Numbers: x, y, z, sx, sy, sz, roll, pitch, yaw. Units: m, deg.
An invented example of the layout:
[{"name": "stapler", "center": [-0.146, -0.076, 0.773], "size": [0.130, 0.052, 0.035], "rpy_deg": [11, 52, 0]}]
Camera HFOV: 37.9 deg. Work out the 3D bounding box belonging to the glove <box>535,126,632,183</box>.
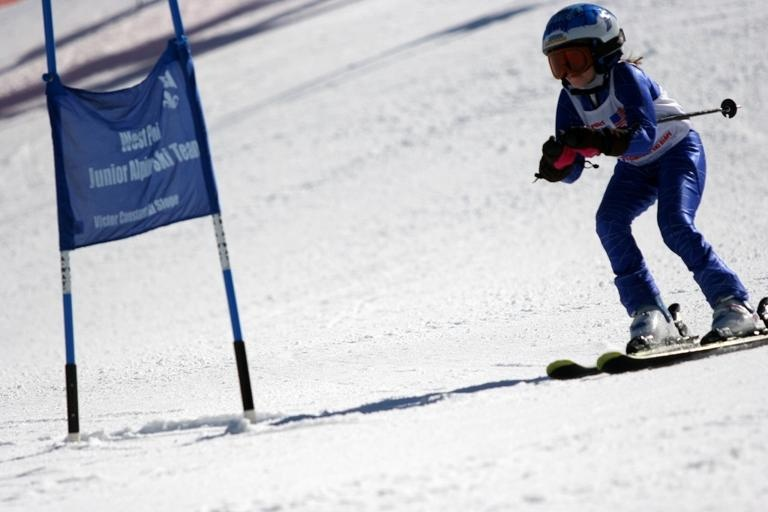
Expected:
[{"name": "glove", "center": [2.277, -1.204, 12.616], "size": [0.793, 0.743, 0.255], "rpy_deg": [12, 37, -22]}]
